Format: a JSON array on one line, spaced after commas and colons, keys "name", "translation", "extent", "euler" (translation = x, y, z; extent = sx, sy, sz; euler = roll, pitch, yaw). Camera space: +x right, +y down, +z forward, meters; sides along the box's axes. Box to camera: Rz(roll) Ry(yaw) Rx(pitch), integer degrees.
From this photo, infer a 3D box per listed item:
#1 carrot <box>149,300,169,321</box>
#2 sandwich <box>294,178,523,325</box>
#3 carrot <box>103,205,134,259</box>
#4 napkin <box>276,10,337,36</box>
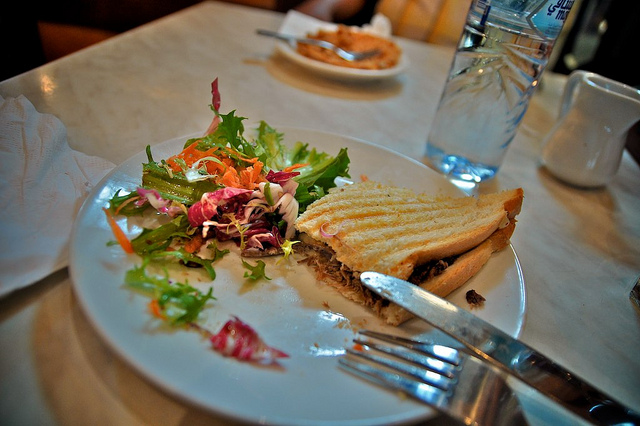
[{"name": "carrot", "translation": [-0.458, 0.279, 1.324], "extent": [0.057, 0.014, 0.037], "euler": [38, 37, 19]}, {"name": "sandwich", "translation": [0.316, 0.071, 1.569], "extent": [0.590, 0.182, 0.499], "euler": [-19, 36, -15]}, {"name": "carrot", "translation": [-0.663, 0.044, 1.488], "extent": [0.238, 0.041, 0.050], "euler": [45, 35, 23]}, {"name": "napkin", "translation": [-0.091, -1.093, 2.694], "extent": [0.278, 0.048, 0.267], "euler": [17, 49, 4]}]
